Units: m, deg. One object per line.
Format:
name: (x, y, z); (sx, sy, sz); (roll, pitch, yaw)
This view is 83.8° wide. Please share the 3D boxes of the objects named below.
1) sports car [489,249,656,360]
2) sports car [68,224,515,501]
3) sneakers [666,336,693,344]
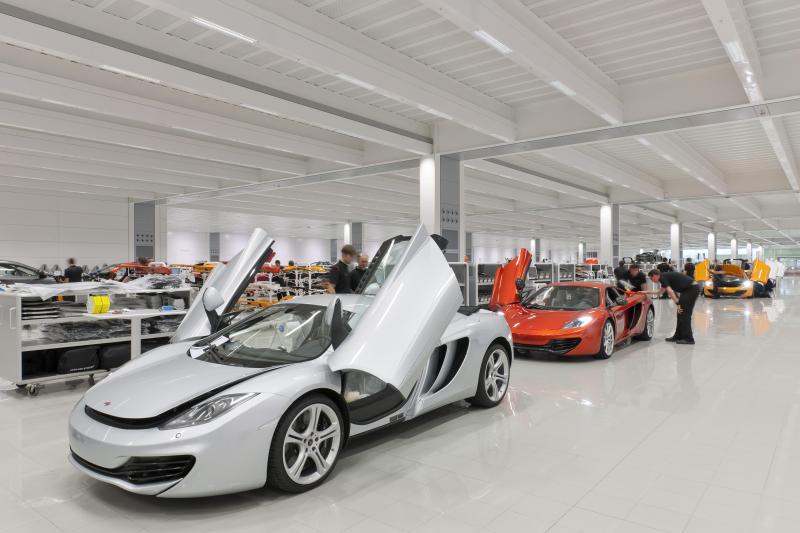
sports car: (3.221, 0.703, 9.369); (3.971, 1.236, 3.008); (-8, 10, -43)
sports car: (-0.859, 0.933, 5.520); (3.910, 1.627, 5.220); (-1, 1, 37)
sneakers: (6.032, 1.578, 9.650); (0.152, 0.128, 0.413); (-2, 3, -41)
